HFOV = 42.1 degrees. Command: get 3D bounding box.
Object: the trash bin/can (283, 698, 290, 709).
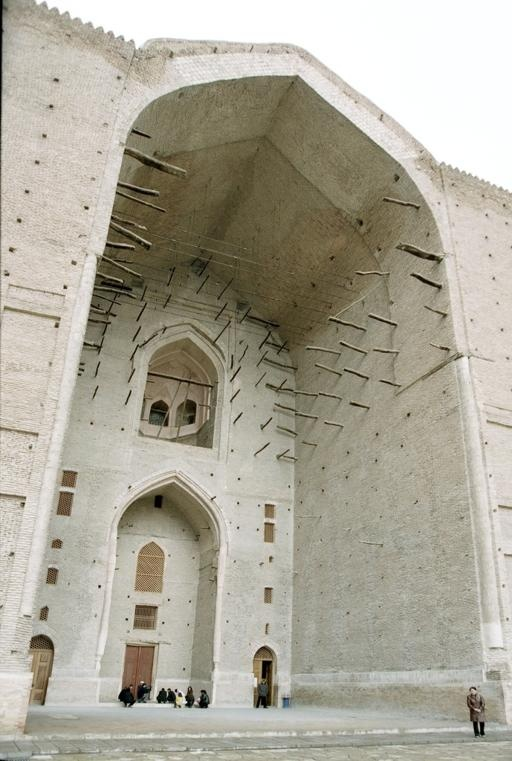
[{"bbox_3d":[0.773,8.543,17.678,0.202,0.239,0.277,3,-27,-1],"label":"trash bin/can"}]
